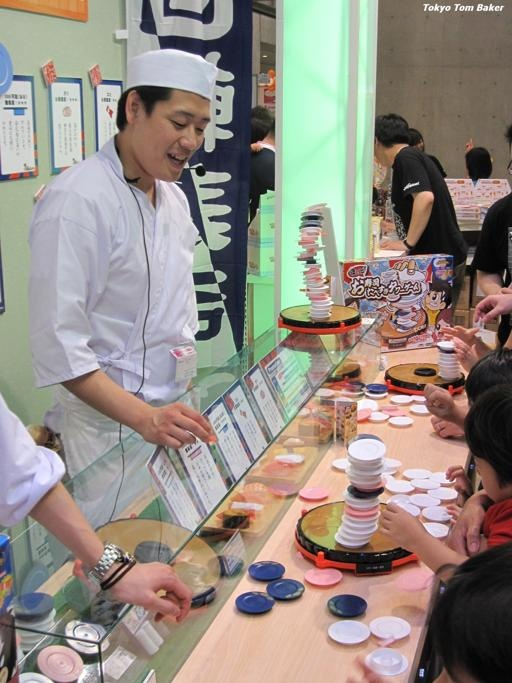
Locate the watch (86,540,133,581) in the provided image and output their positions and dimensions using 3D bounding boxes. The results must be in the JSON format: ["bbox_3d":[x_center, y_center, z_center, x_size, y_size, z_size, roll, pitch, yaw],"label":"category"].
[{"bbox_3d":[-0.201,0.319,0.647,0.034,0.051,0.054,37,22,1],"label":"watch"}]

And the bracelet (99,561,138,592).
[{"bbox_3d":[-0.194,0.331,0.646,0.027,0.007,0.030,-41,5,10],"label":"bracelet"}]

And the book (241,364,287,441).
[{"bbox_3d":[0.019,0.175,1.262,0.021,0.206,0.157,-18,20,25],"label":"book"}]

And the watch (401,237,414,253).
[{"bbox_3d":[1.263,-0.780,3.812,0.037,0.109,0.103,22,-4,-8],"label":"watch"}]

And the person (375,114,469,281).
[{"bbox_3d":[1.431,-1.275,3.918,0.520,1.503,1.037,-3,8,-7],"label":"person"}]

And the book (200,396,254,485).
[{"bbox_3d":[-0.068,0.226,1.026,0.011,0.177,0.159,-19,33,14],"label":"book"}]
